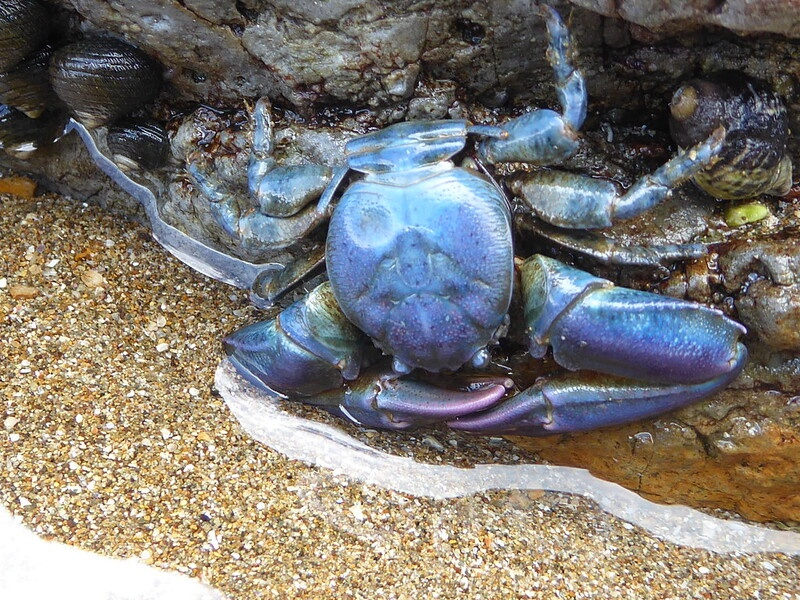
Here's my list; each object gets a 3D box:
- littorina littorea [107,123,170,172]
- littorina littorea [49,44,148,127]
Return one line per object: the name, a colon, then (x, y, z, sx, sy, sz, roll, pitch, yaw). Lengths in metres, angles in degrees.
littorina littorea: (-1.458, -0.854, 5.625, 0.346, 0.296, 0.131, -7, 50, 7)
littorina littorea: (-1.596, -1.155, 5.327, 0.422, 0.228, 0.429, 29, 99, -3)
